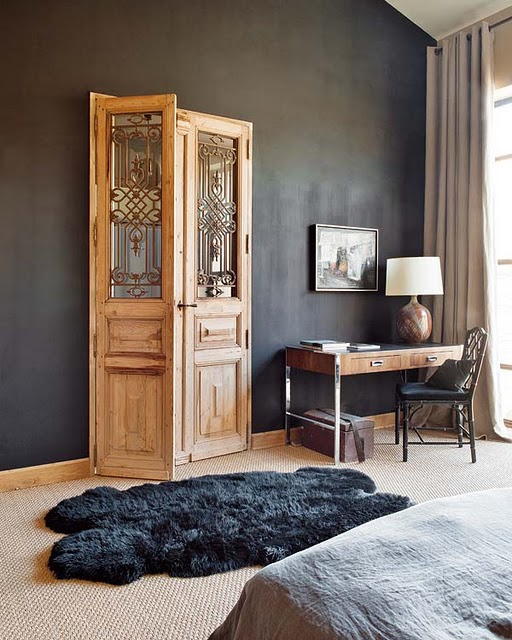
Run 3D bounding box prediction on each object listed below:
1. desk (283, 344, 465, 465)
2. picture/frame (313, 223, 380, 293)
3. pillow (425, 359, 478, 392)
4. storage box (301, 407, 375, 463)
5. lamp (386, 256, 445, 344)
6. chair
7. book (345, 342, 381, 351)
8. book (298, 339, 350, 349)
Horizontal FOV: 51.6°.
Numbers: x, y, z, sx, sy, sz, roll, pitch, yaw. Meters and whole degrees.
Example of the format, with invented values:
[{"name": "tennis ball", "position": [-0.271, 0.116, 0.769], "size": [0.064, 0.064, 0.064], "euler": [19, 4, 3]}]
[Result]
[{"name": "desk", "position": [1.004, 0.511, 3.812], "size": [0.967, 0.553, 0.423], "euler": [-4, -5, -15]}, {"name": "picture/frame", "position": [0.670, -0.474, 4.264], "size": [0.630, 0.478, 0.292], "euler": [-2, 2, -34]}, {"name": "pillow", "position": [1.305, 0.364, 3.605], "size": [0.272, 0.196, 0.267], "euler": [-1, 2, -14]}, {"name": "storage box", "position": [0.570, 0.652, 3.588], "size": [0.263, 0.297, 0.518], "euler": [0, 2, -35]}, {"name": "lamp", "position": [1.219, -0.177, 4.319], "size": [0.593, 0.900, 0.603], "euler": [-1, 5, 19]}, {"name": "chair", "position": [1.255, 0.493, 3.666], "size": [0.545, 0.869, 0.505], "euler": [1, 3, 5]}, {"name": "book", "position": [0.722, 0.192, 3.564], "size": [0.212, 0.034, 0.272], "euler": [1, 2, 13]}, {"name": "book", "position": [0.474, 0.177, 3.628], "size": [0.333, 0.048, 0.224], "euler": [0, 2, 6]}]
